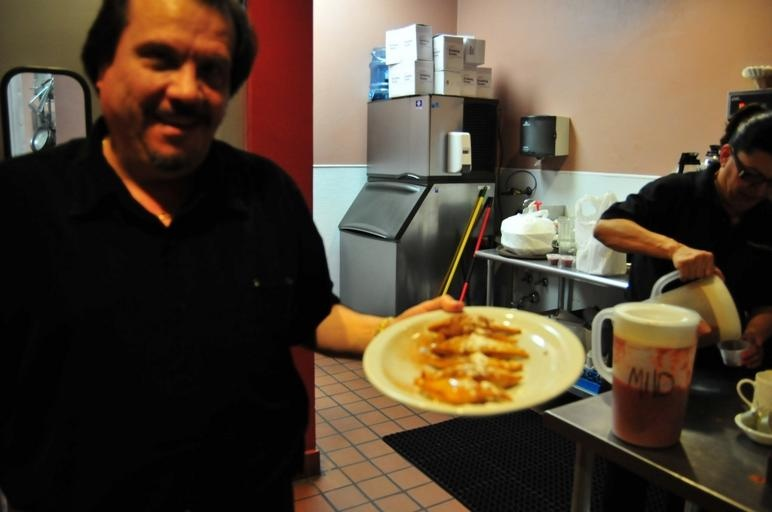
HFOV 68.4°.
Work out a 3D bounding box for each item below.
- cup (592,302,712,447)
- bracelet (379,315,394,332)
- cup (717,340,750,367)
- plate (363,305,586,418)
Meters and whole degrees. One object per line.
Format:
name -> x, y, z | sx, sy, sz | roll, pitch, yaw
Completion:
cup -> 0.713, 0.331, 1.558 | 0.213, 0.382, 0.155 | 6, 12, 25
bracelet -> 0.001, 0.191, 1.608 | 0.015, 0.038, 0.031 | 19, -8, -41
cup -> 1.107, 0.309, 1.818 | 0.084, 0.059, 0.081 | 0, 3, 0
plate -> 0.206, 0.257, 1.344 | 0.520, 0.171, 0.368 | 0, 12, -4
